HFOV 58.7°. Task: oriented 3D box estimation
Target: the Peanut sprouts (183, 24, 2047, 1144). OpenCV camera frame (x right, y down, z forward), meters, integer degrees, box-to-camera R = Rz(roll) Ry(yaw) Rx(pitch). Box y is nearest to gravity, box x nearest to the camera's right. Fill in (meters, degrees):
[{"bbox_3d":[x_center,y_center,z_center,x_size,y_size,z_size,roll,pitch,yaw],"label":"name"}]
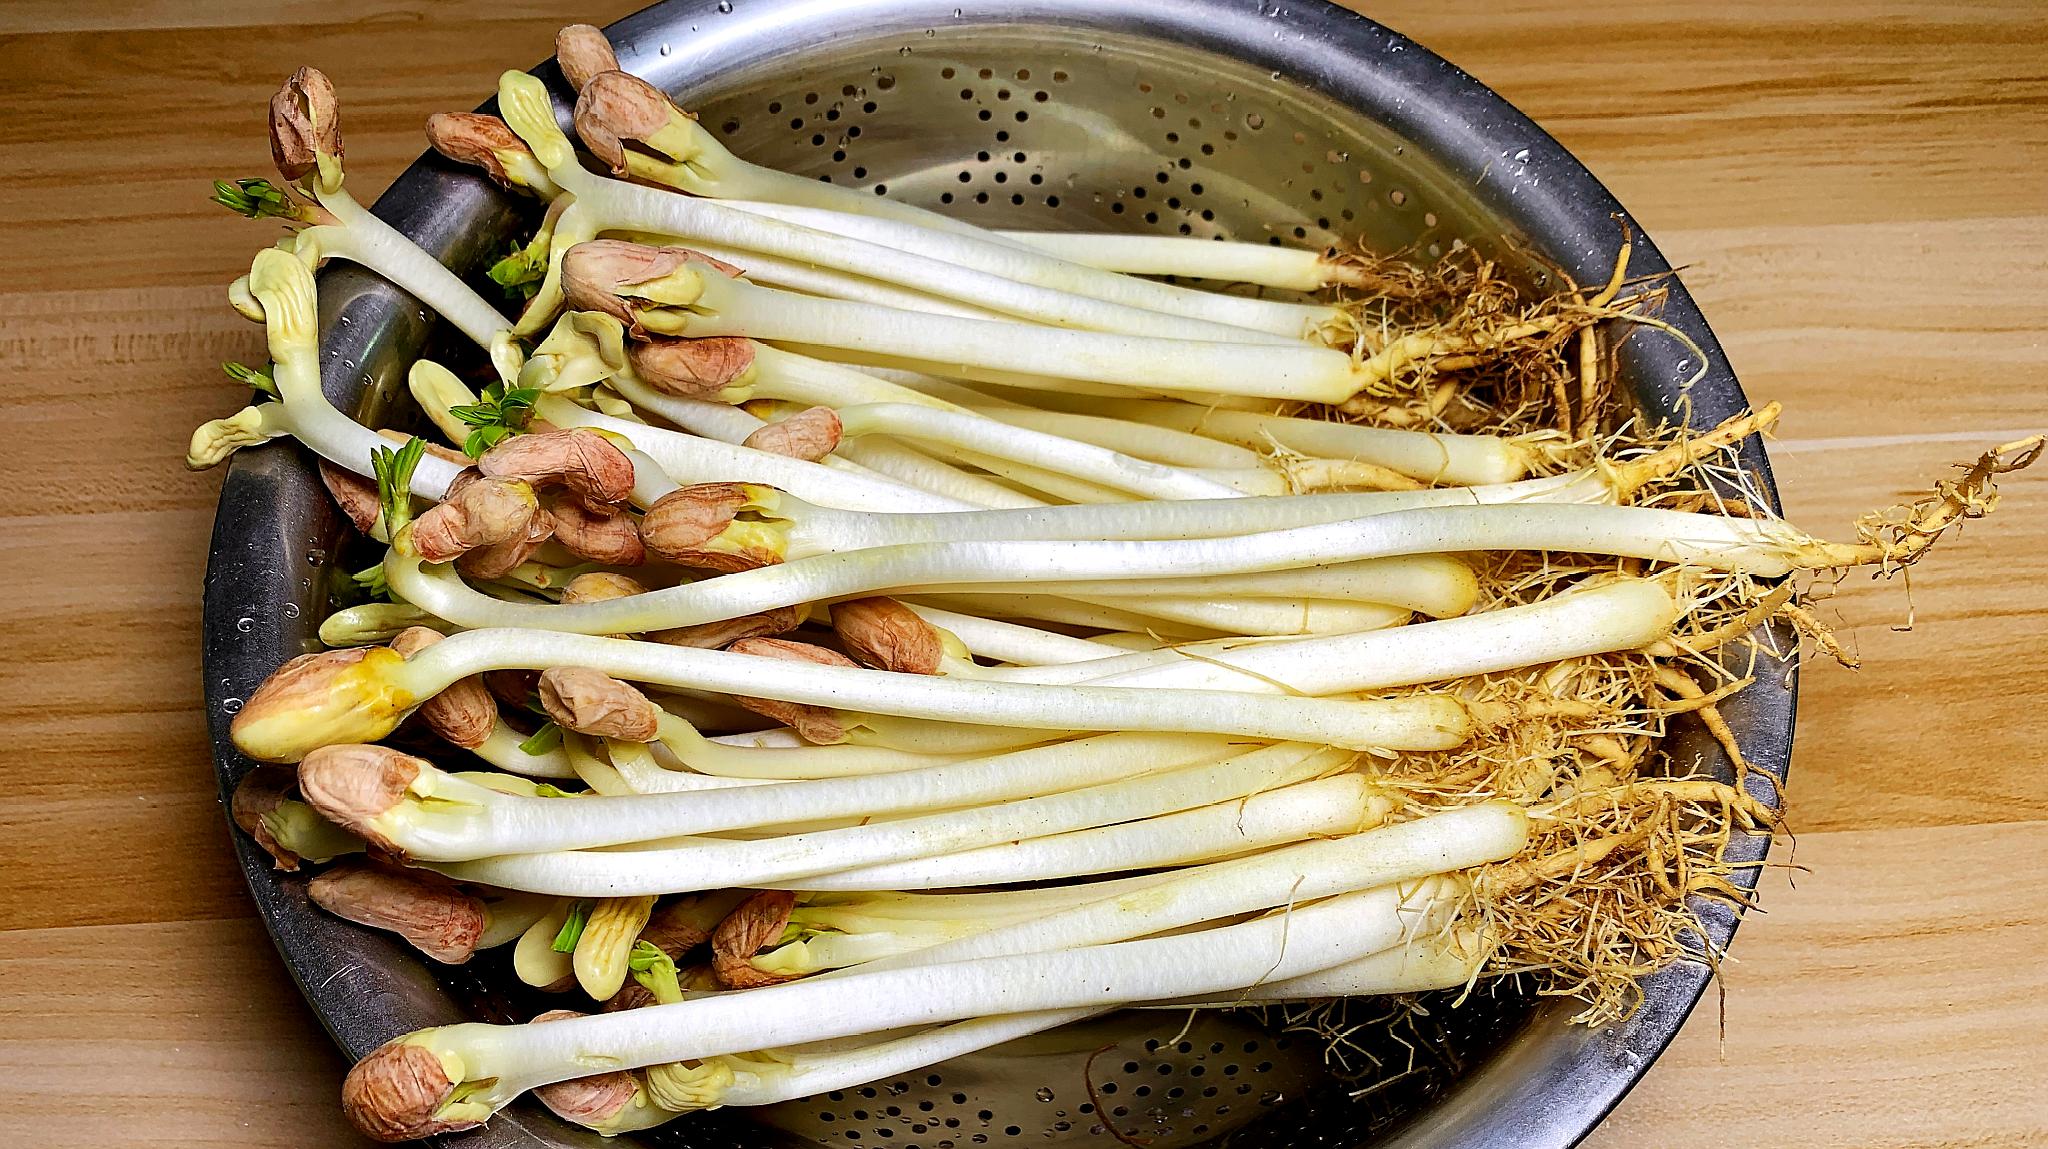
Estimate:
[{"bbox_3d":[-0.077,0.041,1.838,1.691,0.307,1.194,16,81,2],"label":"Peanut sprouts"}]
